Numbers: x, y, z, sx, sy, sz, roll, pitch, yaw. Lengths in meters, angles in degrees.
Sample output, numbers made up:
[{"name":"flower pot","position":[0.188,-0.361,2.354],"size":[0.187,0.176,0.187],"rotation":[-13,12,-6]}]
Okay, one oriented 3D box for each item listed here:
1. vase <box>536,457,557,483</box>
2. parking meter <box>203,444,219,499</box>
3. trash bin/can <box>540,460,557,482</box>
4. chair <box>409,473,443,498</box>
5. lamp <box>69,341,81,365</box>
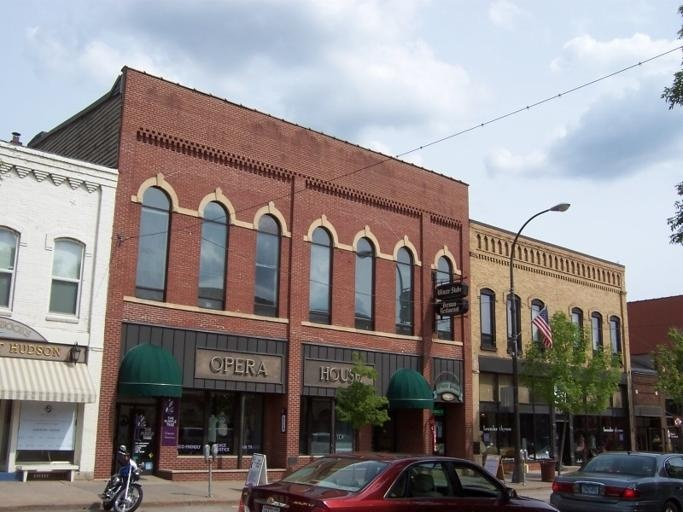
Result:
[{"name":"vase","position":[9.720,10.018,31.558],"size":[0.960,1.123,1.010],"rotation":[-1,-14,3]},{"name":"parking meter","position":[-4.576,7.509,23.561],"size":[0.297,1.755,0.470],"rotation":[-5,-13,20]},{"name":"trash bin/can","position":[9.697,9.990,31.508],"size":[0.920,1.048,0.931],"rotation":[-2,-13,9]},{"name":"chair","position":[1.488,4.101,12.023],"size":[0.449,0.415,0.470],"rotation":[-2,-7,12]},{"name":"lamp","position":[-9.288,3.391,23.697],"size":[0.394,0.741,0.202],"rotation":[11,-21,-32]}]
